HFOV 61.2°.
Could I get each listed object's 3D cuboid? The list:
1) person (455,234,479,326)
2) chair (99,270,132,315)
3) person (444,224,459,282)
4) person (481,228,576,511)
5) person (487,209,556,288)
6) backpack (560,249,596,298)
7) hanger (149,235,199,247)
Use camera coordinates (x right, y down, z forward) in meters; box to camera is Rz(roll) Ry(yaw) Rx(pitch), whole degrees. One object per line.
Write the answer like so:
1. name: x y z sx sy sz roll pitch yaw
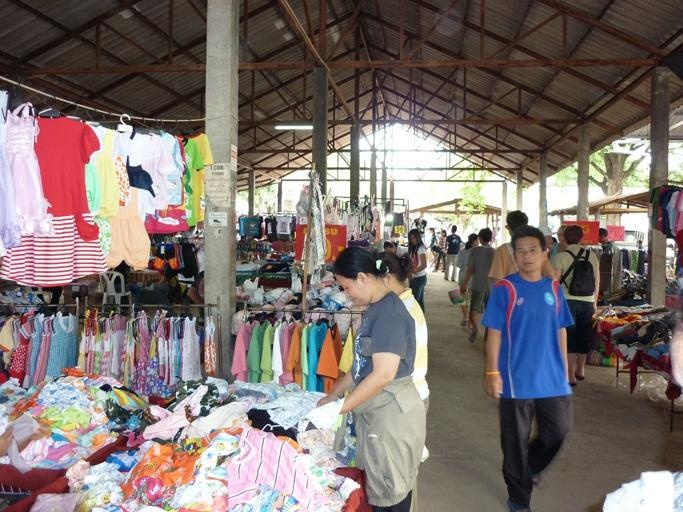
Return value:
1. person: 2.277 0.409 10.149 0.441 1.628 0.420 2 2 -29
2. chair: -3.300 0.587 8.363 0.372 0.617 0.399 1 22 -19
3. person: 3.176 -0.229 16.236 0.458 1.584 0.437 2 34 14
4. person: 1.368 0.867 4.270 0.625 2.145 0.297 1 7 17
5. person: 1.859 0.100 6.013 0.617 1.231 0.302 -7 18 14
6. backpack: 2.628 0.212 6.366 0.367 0.626 0.580 1 -8 8
7. hanger: -2.736 -0.271 9.657 0.612 0.200 0.685 0 2 12
